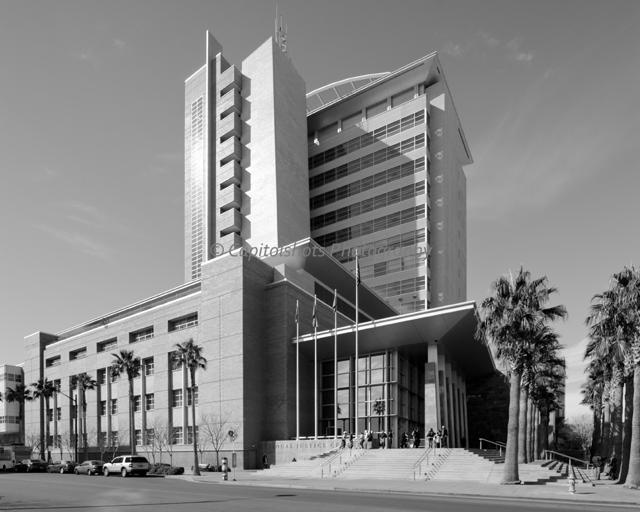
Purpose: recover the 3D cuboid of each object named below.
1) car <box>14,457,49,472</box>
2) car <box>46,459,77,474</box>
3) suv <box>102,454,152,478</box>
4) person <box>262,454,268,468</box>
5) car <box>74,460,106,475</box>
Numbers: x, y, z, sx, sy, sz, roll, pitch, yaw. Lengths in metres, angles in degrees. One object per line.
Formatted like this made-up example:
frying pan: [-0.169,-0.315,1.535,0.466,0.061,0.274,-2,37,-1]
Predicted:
car: [-29.735,21.476,77.352,3.282,1.450,2.538,0,-20,-2]
car: [-25.476,20.849,74.460,2.019,1.340,5.193,10,-23,-27]
suv: [-16.801,18.048,64.938,4.206,1.847,2.083,-17,-25,37]
person: [-5.284,19.989,73.731,0.621,1.348,1.615,1,-19,-6]
car: [-20.862,19.138,68.459,0.926,1.466,3.835,15,-26,-40]
